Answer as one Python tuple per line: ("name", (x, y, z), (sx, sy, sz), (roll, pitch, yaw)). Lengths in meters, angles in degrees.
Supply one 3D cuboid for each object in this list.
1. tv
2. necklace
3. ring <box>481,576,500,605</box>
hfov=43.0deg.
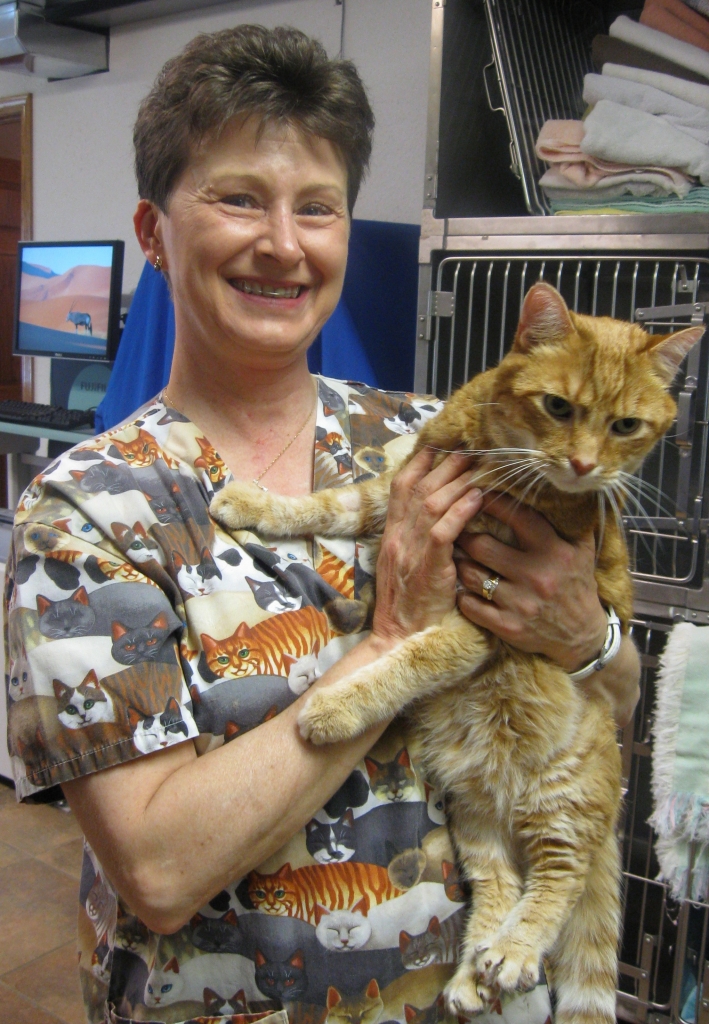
("tv", (-1.035, -0.764, 3.304), (0.663, 0.418, 0.063), (12, 10, 41))
("necklace", (-0.090, -0.084, 1.186), (0.080, 0.131, 0.032), (11, -8, -14))
("ring", (0.157, 0.093, 1.054), (0.027, 0.026, 0.021), (7, 17, 2))
